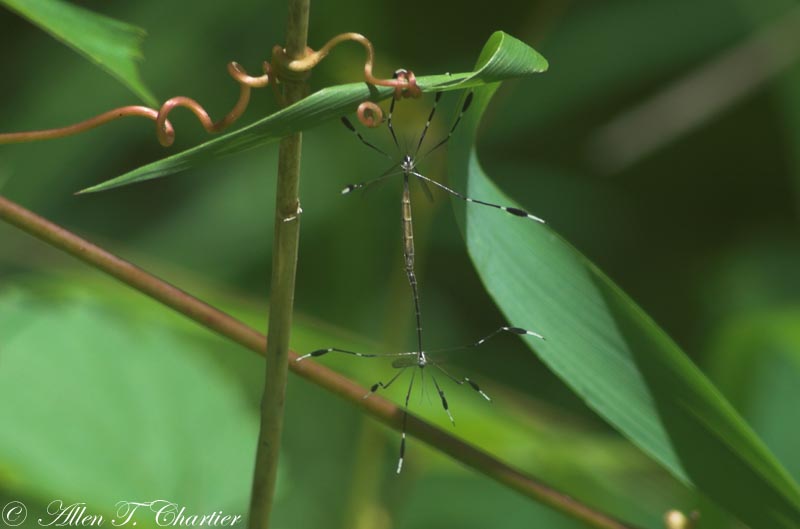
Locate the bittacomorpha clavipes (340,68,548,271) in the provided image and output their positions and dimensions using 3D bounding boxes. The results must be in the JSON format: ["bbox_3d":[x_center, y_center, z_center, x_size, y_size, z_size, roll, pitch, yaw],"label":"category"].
[{"bbox_3d":[0.027,-0.203,2.034,0.411,0.045,0.483,2,-87,13],"label":"bittacomorpha clavipes"}]
